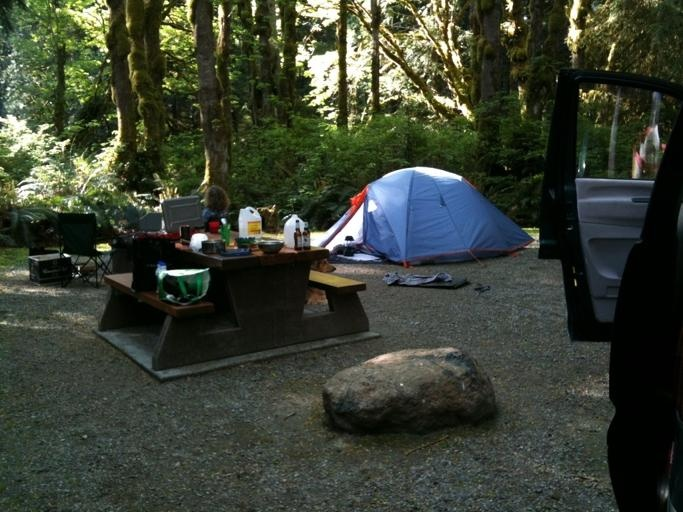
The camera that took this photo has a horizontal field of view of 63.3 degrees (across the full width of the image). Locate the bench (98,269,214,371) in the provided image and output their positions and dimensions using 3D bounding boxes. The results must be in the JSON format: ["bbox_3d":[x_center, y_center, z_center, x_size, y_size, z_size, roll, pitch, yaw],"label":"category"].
[{"bbox_3d":[-2.295,0.601,6.557,0.861,0.650,1.971,-8,13,-34],"label":"bench"}]

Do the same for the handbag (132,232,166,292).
[{"bbox_3d":[-2.054,0.055,5.950,0.395,0.598,0.422,2,5,4],"label":"handbag"}]

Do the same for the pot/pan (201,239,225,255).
[{"bbox_3d":[-1.341,-0.093,5.790,0.172,0.100,0.173,8,12,36],"label":"pot/pan"}]

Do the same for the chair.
[{"bbox_3d":[-4.416,-0.190,9.515,0.721,1.253,1.953,-6,13,-24],"label":"chair"}]

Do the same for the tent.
[{"bbox_3d":[1.394,-0.763,11.112,2.623,1.116,2.658,0,12,36],"label":"tent"}]

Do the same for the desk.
[{"bbox_3d":[-1.109,0.373,5.892,1.310,0.587,1.298,-5,8,-35],"label":"desk"}]
